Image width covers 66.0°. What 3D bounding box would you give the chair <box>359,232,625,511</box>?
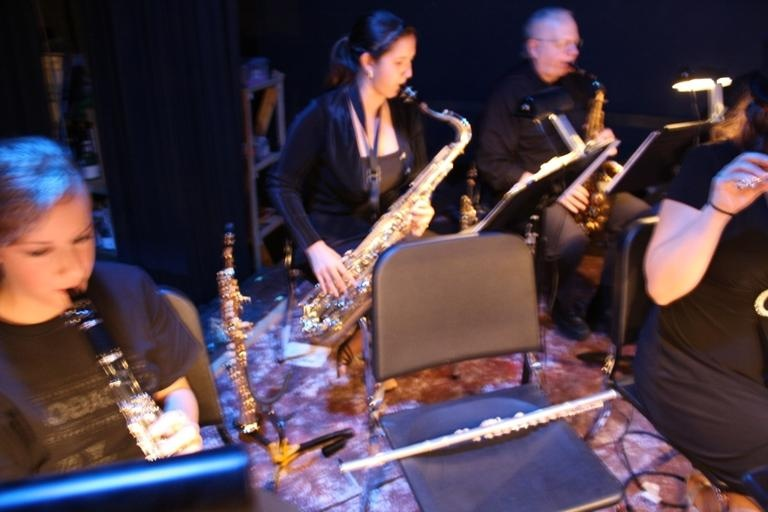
[{"bbox_3d":[0.413,0.504,2.416,0.728,1.199,0.813,-10,33,-13],"label":"chair"}]

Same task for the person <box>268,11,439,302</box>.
[{"bbox_3d":[-0.148,-0.560,3.104,0.468,1.314,0.924,14,30,40],"label":"person"}]
